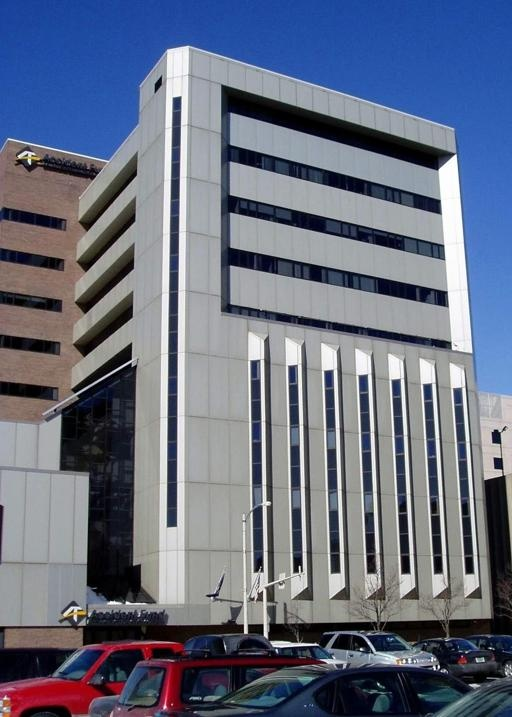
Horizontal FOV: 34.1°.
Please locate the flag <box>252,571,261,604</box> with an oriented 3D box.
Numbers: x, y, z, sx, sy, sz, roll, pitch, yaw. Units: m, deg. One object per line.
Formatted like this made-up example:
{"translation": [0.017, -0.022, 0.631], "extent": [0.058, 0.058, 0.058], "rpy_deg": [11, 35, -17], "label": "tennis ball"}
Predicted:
{"translation": [-0.016, 13.066, 47.368], "extent": [0.347, 0.616, 2.775], "rpy_deg": [8, -54, -5], "label": "flag"}
